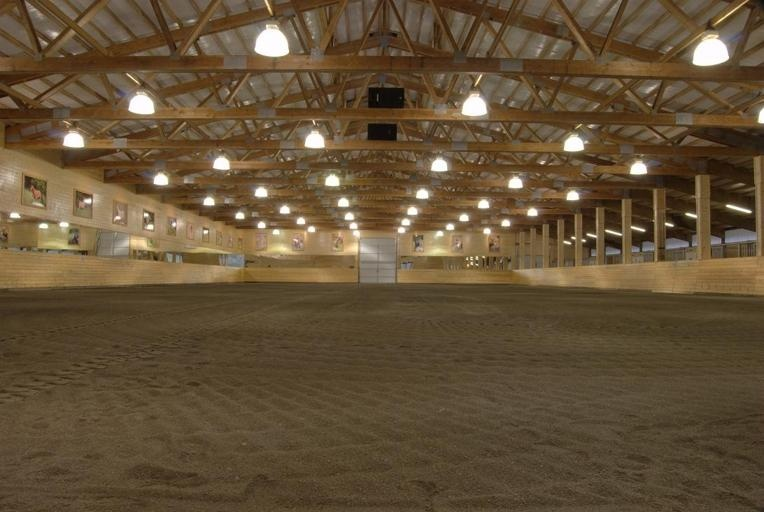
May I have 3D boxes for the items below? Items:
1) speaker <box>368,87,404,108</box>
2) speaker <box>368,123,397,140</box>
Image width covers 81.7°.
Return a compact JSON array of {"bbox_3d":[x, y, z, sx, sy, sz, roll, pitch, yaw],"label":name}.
[{"bbox_3d":[0.105,-5.076,14.290,1.128,0.792,0.379,0,-2,7],"label":"speaker"},{"bbox_3d":[-0.020,-4.619,16.483,1.512,0.651,0.277,2,2,-6],"label":"speaker"}]
